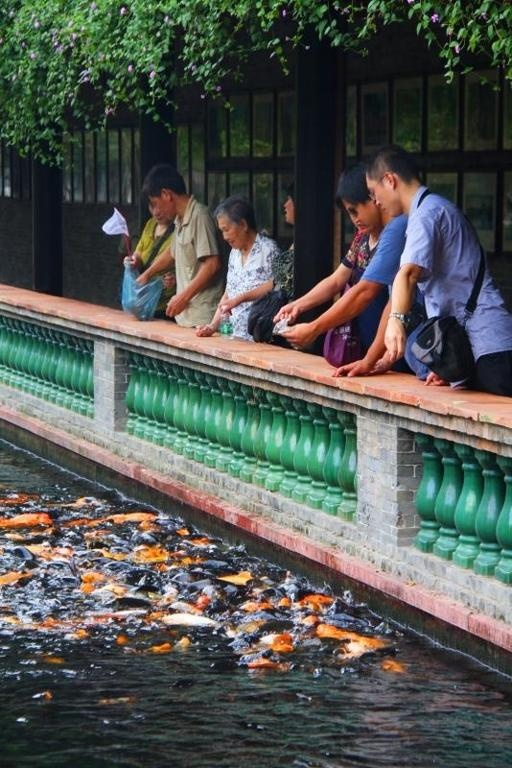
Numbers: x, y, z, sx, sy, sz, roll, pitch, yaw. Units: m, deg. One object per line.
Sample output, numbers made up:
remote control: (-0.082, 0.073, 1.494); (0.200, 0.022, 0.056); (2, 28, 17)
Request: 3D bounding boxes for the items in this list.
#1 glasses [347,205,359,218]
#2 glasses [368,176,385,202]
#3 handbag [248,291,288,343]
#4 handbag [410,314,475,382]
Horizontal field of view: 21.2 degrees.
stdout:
glasses: (0.469, -0.840, 6.704); (0.034, 0.055, 0.050); (-4, -12, 17)
glasses: (0.522, -0.854, 6.021); (0.025, 0.097, 0.088); (-21, -10, 14)
handbag: (0.057, -0.397, 8.033); (0.188, 0.310, 0.284); (2, 9, 2)
handbag: (0.755, -0.145, 5.745); (0.262, 0.298, 0.149); (6, 6, 44)
